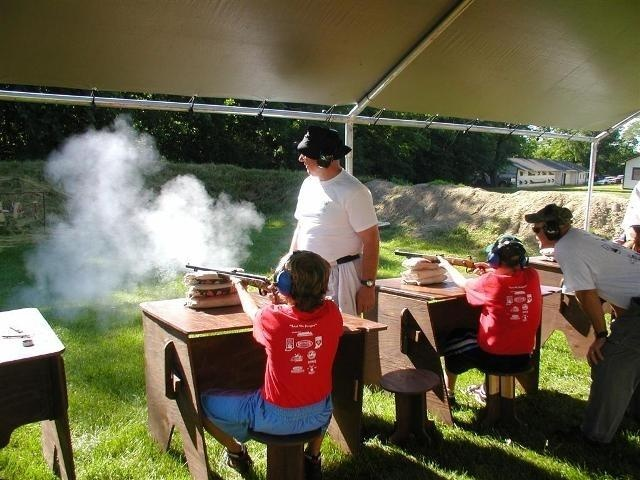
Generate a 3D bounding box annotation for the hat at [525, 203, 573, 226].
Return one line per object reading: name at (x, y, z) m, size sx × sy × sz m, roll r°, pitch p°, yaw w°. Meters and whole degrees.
hat at (2.057, -0.227, 4.484) m, size 0.322 × 0.152 × 0.212 m, roll 3°, pitch 4°, yaw 26°

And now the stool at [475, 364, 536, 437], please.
stool at (1.749, 1.496, 4.853) m, size 0.467 × 0.621 × 0.529 m, roll -1°, pitch 2°, yaw -2°

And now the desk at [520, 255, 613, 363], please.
desk at (2.853, 0.797, 6.333) m, size 1.109 × 1.259 × 1.180 m, roll -4°, pitch 13°, yaw -18°

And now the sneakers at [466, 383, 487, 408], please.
sneakers at (1.630, 1.586, 5.160) m, size 0.115 × 0.095 × 0.196 m, roll -2°, pitch 10°, yaw -3°

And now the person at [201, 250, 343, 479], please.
person at (-0.329, 1.019, 3.652) m, size 0.896 × 1.901 × 0.401 m, roll 6°, pitch 13°, yaw 12°

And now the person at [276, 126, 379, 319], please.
person at (0.104, 0.094, 4.878) m, size 1.040 × 2.377 × 0.643 m, roll 13°, pitch 22°, yaw 37°

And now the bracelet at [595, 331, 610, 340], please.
bracelet at (2.446, 0.813, 4.319) m, size 0.070 × 0.058 × 0.075 m, roll -4°, pitch 0°, yaw -5°

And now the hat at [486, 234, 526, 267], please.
hat at (1.665, 0.105, 4.489) m, size 0.221 × 0.269 × 0.325 m, roll 11°, pitch -15°, yaw -1°

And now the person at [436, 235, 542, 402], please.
person at (1.570, 0.807, 4.893) m, size 1.010 × 1.785 × 0.714 m, roll 13°, pitch 18°, yaw 41°

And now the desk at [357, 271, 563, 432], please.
desk at (1.044, 0.797, 4.924) m, size 1.310 × 1.086 × 1.083 m, roll -2°, pitch 8°, yaw -28°

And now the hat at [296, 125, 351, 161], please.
hat at (-0.014, -0.917, 4.567) m, size 0.284 × 0.151 × 0.358 m, roll -3°, pitch 23°, yaw -19°

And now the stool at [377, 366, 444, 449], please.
stool at (0.810, 1.472, 4.511) m, size 0.510 × 0.557 × 0.583 m, roll 3°, pitch 13°, yaw 27°
